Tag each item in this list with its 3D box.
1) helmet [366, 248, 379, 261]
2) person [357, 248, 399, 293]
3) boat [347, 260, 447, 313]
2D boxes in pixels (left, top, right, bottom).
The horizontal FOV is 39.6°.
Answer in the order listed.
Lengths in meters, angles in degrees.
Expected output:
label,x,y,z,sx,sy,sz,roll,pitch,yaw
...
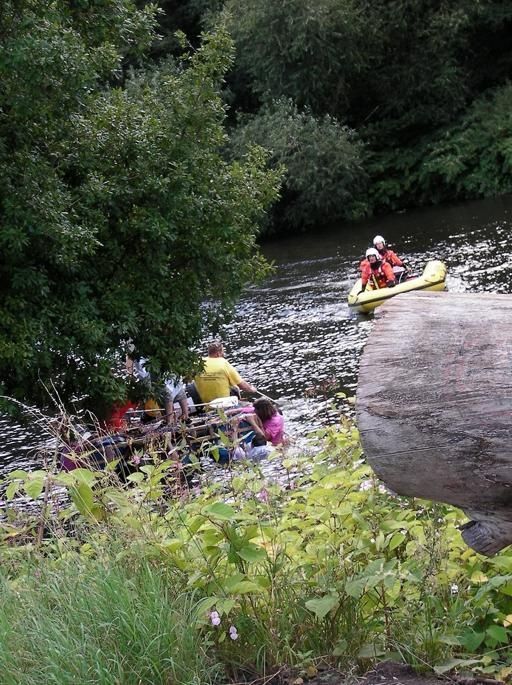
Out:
label,x,y,z,sx,sy,sz,roll,pitch,yaw
helmet,2.571,-1.927,15.647,0.247,0.262,0.277,-3,12,11
person,2.611,-1.537,15.666,0.835,0.975,0.645,-7,18,31
boat,3.195,-1.225,15.299,1.699,0.664,3.096,-3,12,44
